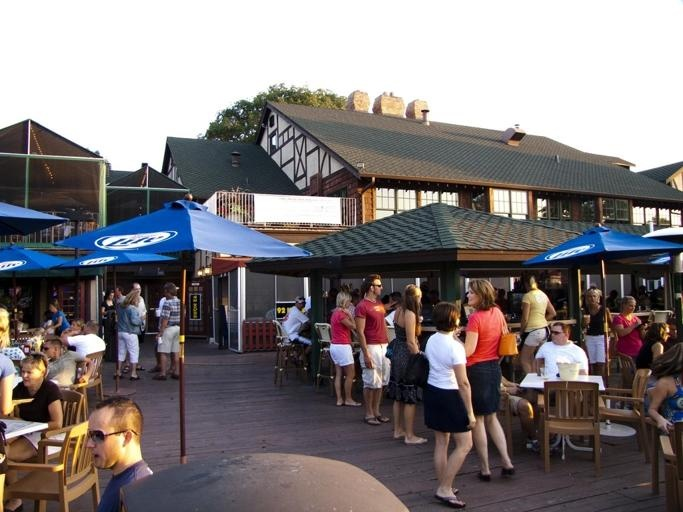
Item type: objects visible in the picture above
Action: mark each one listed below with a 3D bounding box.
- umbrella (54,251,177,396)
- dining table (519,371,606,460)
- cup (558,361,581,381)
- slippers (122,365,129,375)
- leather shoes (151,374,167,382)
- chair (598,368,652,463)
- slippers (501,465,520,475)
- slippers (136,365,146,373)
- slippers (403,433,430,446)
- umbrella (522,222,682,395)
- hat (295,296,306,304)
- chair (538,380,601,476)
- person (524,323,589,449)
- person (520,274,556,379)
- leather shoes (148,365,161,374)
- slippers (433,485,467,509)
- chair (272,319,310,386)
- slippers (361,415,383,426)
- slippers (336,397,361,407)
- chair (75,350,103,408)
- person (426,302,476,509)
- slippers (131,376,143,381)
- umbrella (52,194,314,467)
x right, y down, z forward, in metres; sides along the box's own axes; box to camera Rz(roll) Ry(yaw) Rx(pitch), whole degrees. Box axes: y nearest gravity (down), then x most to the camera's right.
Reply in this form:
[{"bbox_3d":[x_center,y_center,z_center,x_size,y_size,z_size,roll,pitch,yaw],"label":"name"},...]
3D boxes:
[{"bbox_3d":[-5.477,1.544,15.525,2.982,2.689,3.070,-2,-7,14],"label":"umbrella"},{"bbox_3d":[2.887,1.973,8.203,1.037,0.734,1.063,0,-9,-20],"label":"dining table"},{"bbox_3d":[2.908,1.469,8.378,0.229,0.182,0.246,-1,-7,0],"label":"cup"},{"bbox_3d":[-5.203,2.715,15.629,0.162,0.211,0.521,1,-11,-10],"label":"slippers"},{"bbox_3d":[-3.977,2.620,14.160,0.302,0.133,0.135,3,-1,17],"label":"leather shoes"},{"bbox_3d":[3.713,2.099,8.773,0.865,1.098,0.874,0,-3,-8],"label":"chair"},{"bbox_3d":[1.970,2.554,7.803,0.076,0.084,0.206,0,-2,-5],"label":"slippers"},{"bbox_3d":[-4.946,2.743,15.973,0.160,0.114,0.423,0,-14,-8],"label":"slippers"},{"bbox_3d":[1.027,2.491,9.032,0.314,0.218,0.147,-5,2,-6],"label":"slippers"},{"bbox_3d":[4.543,0.661,11.102,2.192,2.112,2.194,-9,5,-25],"label":"umbrella"},{"bbox_3d":[-1.003,1.046,15.499,0.148,0.187,0.192,3,2,-6],"label":"hat"},{"bbox_3d":[2.924,2.081,8.312,0.862,1.138,0.832,-3,4,-4],"label":"chair"},{"bbox_3d":[2.866,1.786,8.813,0.945,1.990,0.667,-20,-41,36],"label":"person"},{"bbox_3d":[3.443,1.365,11.721,0.644,2.015,0.598,1,1,-24],"label":"person"},{"bbox_3d":[-4.363,2.636,15.178,0.174,0.204,0.494,6,-3,-41],"label":"leather shoes"},{"bbox_3d":[1.180,2.631,7.175,0.326,0.169,0.379,-1,-4,1],"label":"slippers"},{"bbox_3d":[-1.126,2.072,14.213,0.766,1.273,0.729,3,-6,-24],"label":"chair"},{"bbox_3d":[0.461,2.535,10.070,0.283,0.110,0.198,-2,-5,15],"label":"slippers"},{"bbox_3d":[0.129,2.571,11.505,0.446,0.202,0.154,-1,-7,7],"label":"slippers"},{"bbox_3d":[-4.314,2.060,10.953,0.532,0.781,0.582,-4,-3,10],"label":"chair"},{"bbox_3d":[1.164,1.610,7.189,0.571,2.198,0.225,-3,-4,29],"label":"person"},{"bbox_3d":[-4.482,2.642,14.198,0.232,0.085,0.080,0,-2,-3],"label":"slippers"},{"bbox_3d":[-1.926,0.740,8.503,3.101,2.751,3.065,1,-6,-12],"label":"umbrella"}]
